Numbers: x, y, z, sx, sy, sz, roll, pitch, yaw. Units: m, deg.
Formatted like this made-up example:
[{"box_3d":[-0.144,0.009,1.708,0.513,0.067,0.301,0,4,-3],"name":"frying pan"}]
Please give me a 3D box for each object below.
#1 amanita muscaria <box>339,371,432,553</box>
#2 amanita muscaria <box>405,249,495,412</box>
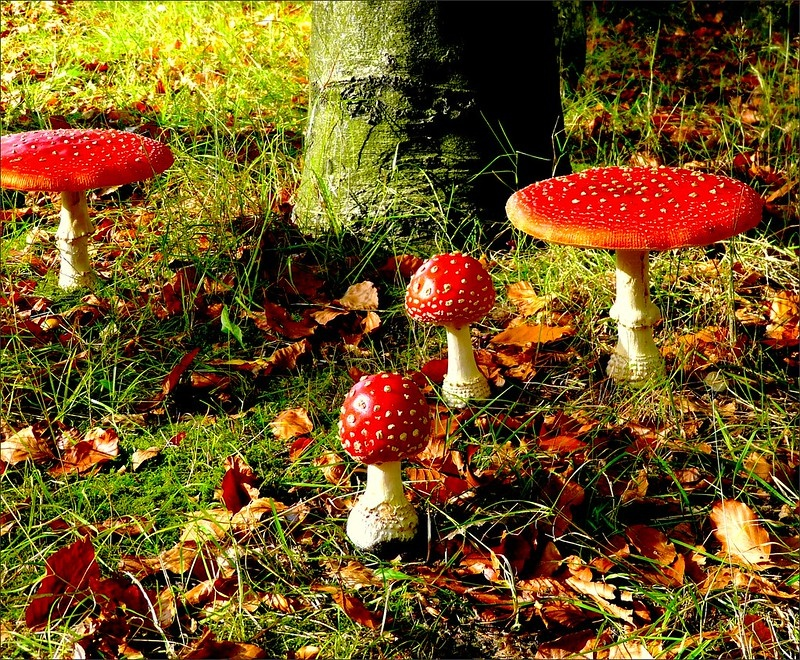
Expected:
[{"box_3d":[-0.050,0.434,2.703,0.289,0.587,0.269,2,33,3],"name":"amanita muscaria"},{"box_3d":[0.209,0.001,3.201,0.333,0.624,0.324,-6,19,12],"name":"amanita muscaria"}]
